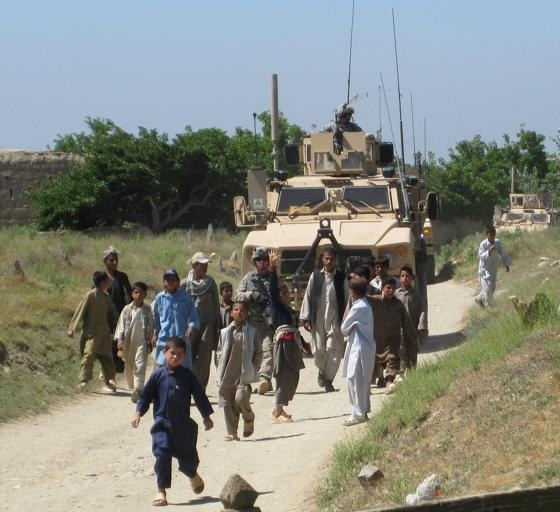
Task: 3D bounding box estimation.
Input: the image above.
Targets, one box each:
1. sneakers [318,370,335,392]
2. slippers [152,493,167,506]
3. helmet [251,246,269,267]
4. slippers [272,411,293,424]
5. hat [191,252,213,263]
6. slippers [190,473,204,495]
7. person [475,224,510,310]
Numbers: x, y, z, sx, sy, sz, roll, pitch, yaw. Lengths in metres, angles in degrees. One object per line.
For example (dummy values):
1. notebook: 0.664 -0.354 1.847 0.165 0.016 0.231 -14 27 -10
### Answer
1. sneakers: 0.616 1.729 12.119 0.111 0.303 0.353 1 1 -20
2. slippers: -1.111 2.242 8.195 0.147 0.135 0.213 -2 -1 -10
3. helmet: -0.257 0.010 11.372 0.147 0.199 0.225 0 -10 2
4. slippers: 0.015 1.952 10.670 0.201 0.258 0.111 -6 -7 28
5. hat: -1.324 0.039 14.864 0.365 0.228 0.274 -15 -9 43
6. slippers: -0.781 2.130 8.307 0.070 0.267 0.091 -4 18 -3
7. person: 4.249 0.215 17.857 0.598 1.562 1.053 -2 0 1
